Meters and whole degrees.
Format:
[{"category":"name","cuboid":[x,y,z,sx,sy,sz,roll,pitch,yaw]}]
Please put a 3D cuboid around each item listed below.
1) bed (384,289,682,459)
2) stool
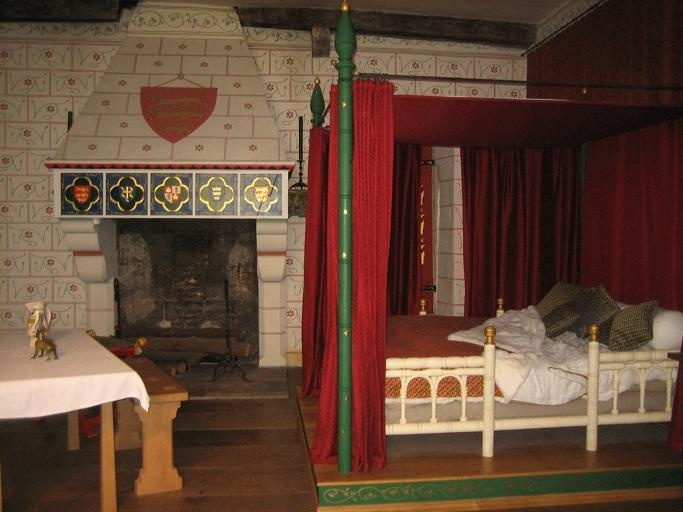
[{"category":"bed","cuboid":[1.581,1.122,6.701,1.716,0.659,1.586,0,4,1]},{"category":"stool","cuboid":[-1.659,1.532,6.564,0.344,0.630,1.168,2,-1,-18]}]
